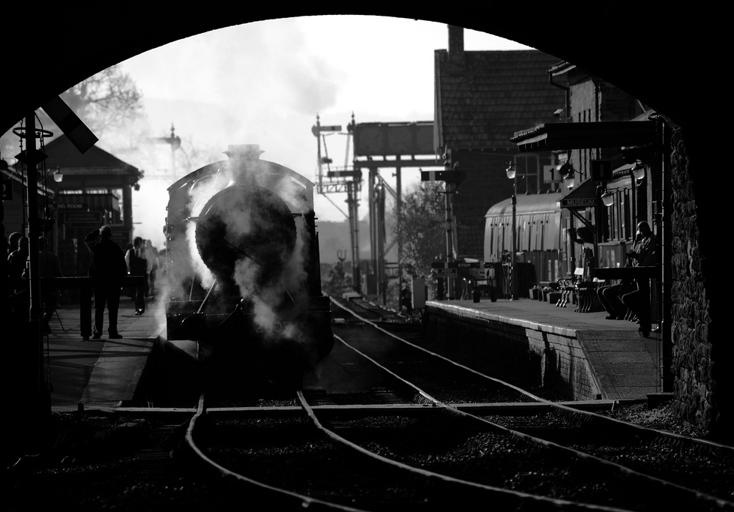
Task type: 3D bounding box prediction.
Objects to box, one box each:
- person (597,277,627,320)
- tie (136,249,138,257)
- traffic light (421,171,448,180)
[{"bbox_3d":[5.507,0.992,20.094,0.239,0.894,0.618,-7,11,-32],"label":"person"},{"bbox_3d":[-5.814,-0.038,23.007,0.099,0.143,0.134,1,3,-11],"label":"tie"},{"bbox_3d":[2.468,-2.881,32.918,0.650,0.362,1.020,-1,1,-39],"label":"traffic light"}]
